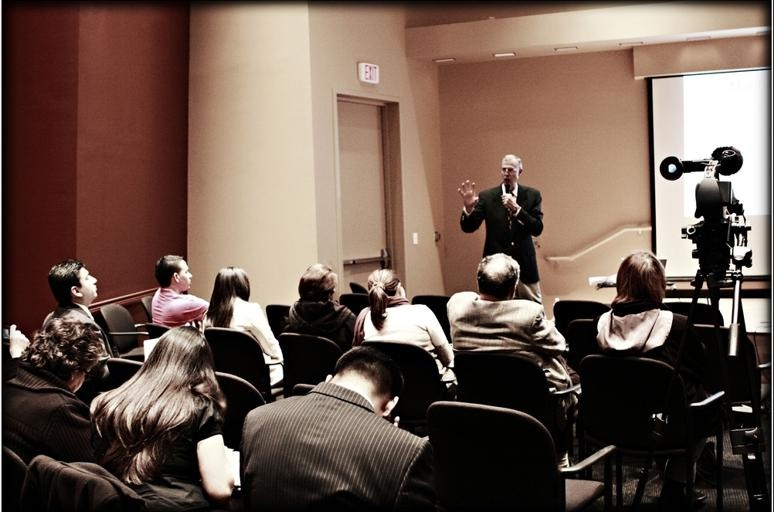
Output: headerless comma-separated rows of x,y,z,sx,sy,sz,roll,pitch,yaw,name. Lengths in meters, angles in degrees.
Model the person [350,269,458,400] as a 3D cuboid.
0.095,0.510,4.161,0.572,1.092,0.622,3,25,18,person
